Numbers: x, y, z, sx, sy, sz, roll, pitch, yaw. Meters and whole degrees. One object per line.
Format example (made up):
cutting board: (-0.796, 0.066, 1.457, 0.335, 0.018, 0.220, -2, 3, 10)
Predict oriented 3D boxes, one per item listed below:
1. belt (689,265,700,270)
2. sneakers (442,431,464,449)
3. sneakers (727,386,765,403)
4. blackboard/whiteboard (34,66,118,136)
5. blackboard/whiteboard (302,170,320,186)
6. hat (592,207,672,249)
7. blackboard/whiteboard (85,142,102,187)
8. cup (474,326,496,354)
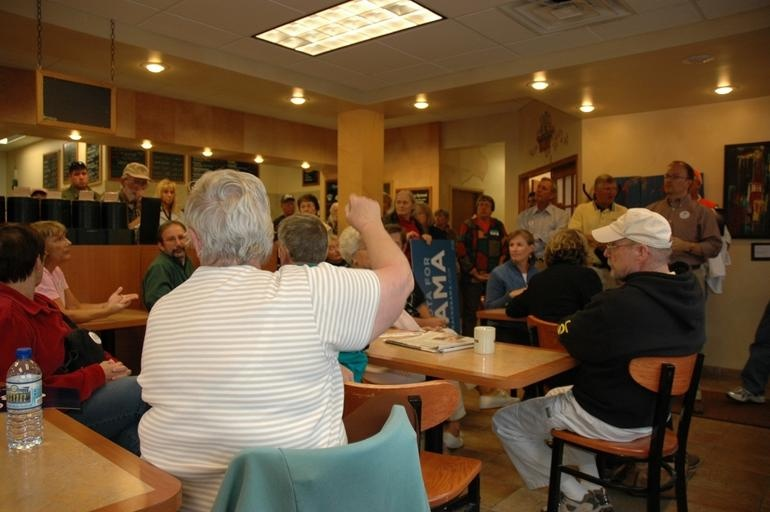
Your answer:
belt: (2.919, 0.098, 5.641, 0.052, 0.035, 0.053, 1, 6, 41)
sneakers: (0.497, 1.343, 4.430, 0.116, 0.085, 0.298, -2, -12, 25)
sneakers: (3.353, 1.288, 5.594, 0.370, 0.153, 0.132, 6, -7, 4)
blackboard/whiteboard: (-2.835, -1.412, 5.535, 0.686, 0.470, 0.054, 8, 18, -12)
blackboard/whiteboard: (-1.477, -1.573, 12.036, 0.350, 0.343, 0.045, -1, 1, 32)
hat: (1.485, -0.163, 3.532, 0.287, 0.183, 0.429, -1, 11, -42)
blackboard/whiteboard: (-4.636, -1.477, 9.532, 0.375, 0.672, 0.032, 3, 3, 28)
cup: (0.582, 0.492, 3.558, 0.149, 0.155, 0.147, 0, -1, 0)
